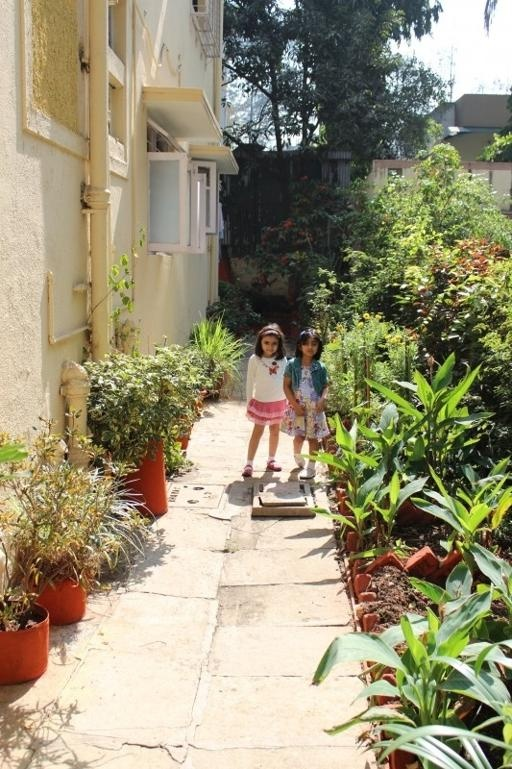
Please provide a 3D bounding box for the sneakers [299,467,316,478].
[{"bbox_3d":[0.398,0.699,4.667,0.119,0.086,0.157,1,3,4],"label":"sneakers"}]

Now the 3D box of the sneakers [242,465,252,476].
[{"bbox_3d":[-0.069,0.689,4.747,0.058,0.081,0.168,-1,-11,2],"label":"sneakers"}]

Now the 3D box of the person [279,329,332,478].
[{"bbox_3d":[0.398,0.145,4.773,0.359,1.179,0.674,1,3,6],"label":"person"}]
